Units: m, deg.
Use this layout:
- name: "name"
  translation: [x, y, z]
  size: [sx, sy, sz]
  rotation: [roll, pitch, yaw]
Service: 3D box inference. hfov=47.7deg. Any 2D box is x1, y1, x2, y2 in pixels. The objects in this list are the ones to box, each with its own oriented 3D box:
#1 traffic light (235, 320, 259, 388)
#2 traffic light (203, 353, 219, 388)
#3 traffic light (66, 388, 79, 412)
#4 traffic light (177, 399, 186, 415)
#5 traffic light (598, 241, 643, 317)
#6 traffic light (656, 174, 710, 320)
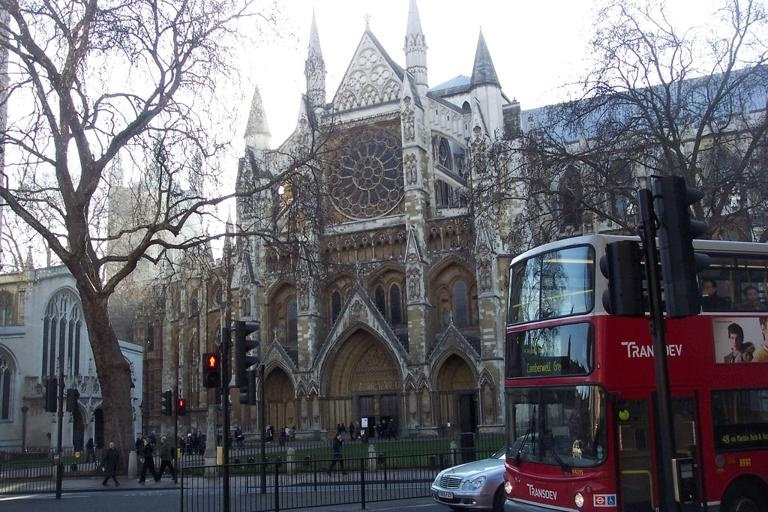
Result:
- name: "traffic light"
  translation: [-3.971, 2.684, 24.846]
  size: [0.646, 1.789, 1.252]
  rotation: [-1, -11, -10]
- name: "traffic light"
  translation: [-4.946, 3.185, 24.890]
  size: [0.483, 0.976, 0.742]
  rotation: [-1, -12, -13]
- name: "traffic light"
  translation: [-12.650, 5.680, 35.094]
  size: [0.433, 0.888, 1.077]
  rotation: [1, -13, -20]
- name: "traffic light"
  translation: [-8.903, 6.442, 37.838]
  size: [0.297, 0.642, 0.615]
  rotation: [-2, -12, -6]
- name: "traffic light"
  translation: [5.271, 0.458, 19.159]
  size: [0.932, 1.669, 0.625]
  rotation: [-7, -11, 17]
- name: "traffic light"
  translation: [6.492, -0.293, 18.994]
  size: [0.946, 3.145, 0.664]
  rotation: [-5, -11, 9]
